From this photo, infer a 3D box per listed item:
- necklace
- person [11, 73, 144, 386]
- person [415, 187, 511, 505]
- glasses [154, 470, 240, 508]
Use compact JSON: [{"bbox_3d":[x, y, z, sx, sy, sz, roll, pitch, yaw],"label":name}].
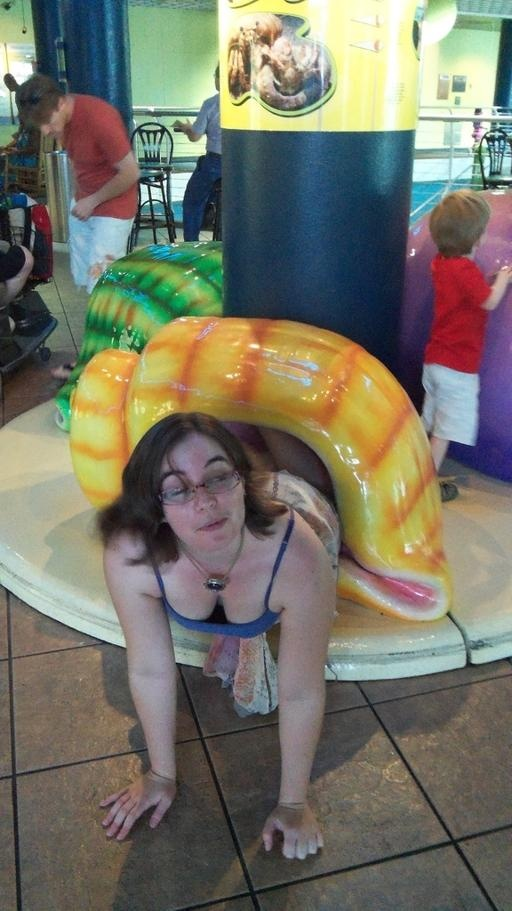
[{"bbox_3d":[-0.075,0.168,1.195,0.094,0.126,0.066,7,17,1],"label":"necklace"},{"bbox_3d":[-0.949,-1.282,3.750,0.594,1.537,0.624,-6,31,-12],"label":"person"},{"bbox_3d":[0.779,-0.463,2.498,0.252,0.974,0.397,-3,30,-7],"label":"person"},{"bbox_3d":[-0.087,0.056,1.049,0.127,0.049,0.039,-6,31,-11],"label":"glasses"}]
